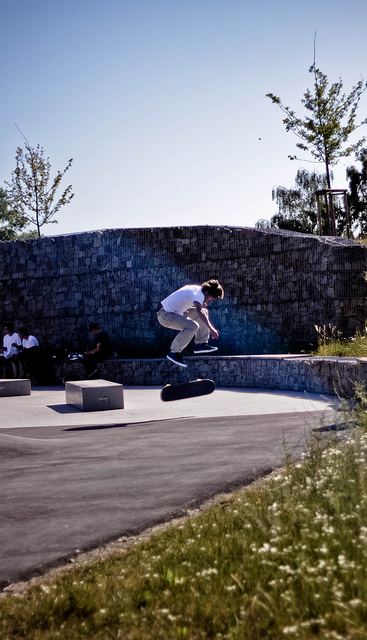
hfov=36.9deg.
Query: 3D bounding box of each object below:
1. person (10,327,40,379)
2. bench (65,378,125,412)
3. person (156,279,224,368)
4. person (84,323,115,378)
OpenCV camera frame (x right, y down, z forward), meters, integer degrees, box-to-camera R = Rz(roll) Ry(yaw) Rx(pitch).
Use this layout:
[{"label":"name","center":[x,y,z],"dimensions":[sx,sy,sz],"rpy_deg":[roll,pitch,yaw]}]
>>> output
[{"label":"person","center":[-4.612,0.960,15.941],"dimensions":[0.731,1.392,1.066],"rpy_deg":[-4,2,-26]},{"label":"bench","center":[-1.563,1.295,9.425],"dimensions":[0.782,0.455,1.243],"rpy_deg":[-5,2,-31]},{"label":"person","center":[0.117,-0.011,8.366],"dimensions":[0.882,1.353,0.904],"rpy_deg":[7,9,-10]},{"label":"person","center":[-2.143,0.787,13.856],"dimensions":[0.622,1.209,1.082],"rpy_deg":[-4,2,-15]}]
